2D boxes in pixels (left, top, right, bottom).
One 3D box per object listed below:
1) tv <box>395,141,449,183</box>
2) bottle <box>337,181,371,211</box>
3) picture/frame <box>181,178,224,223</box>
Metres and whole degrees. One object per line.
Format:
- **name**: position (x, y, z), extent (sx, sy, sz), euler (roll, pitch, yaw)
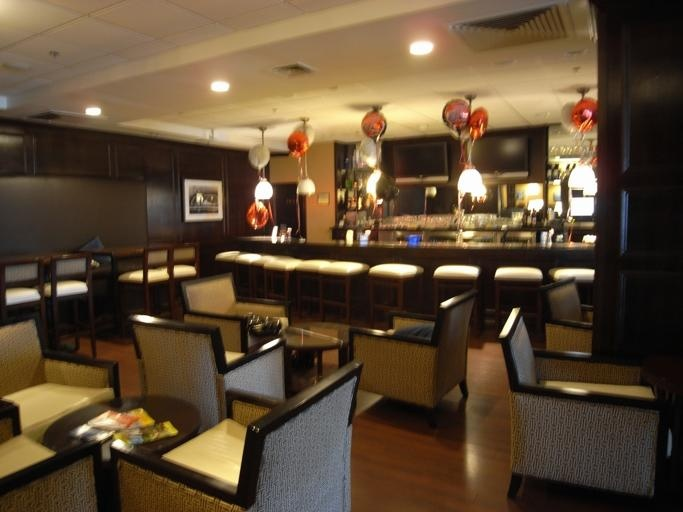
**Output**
- **tv**: position (1.522, -1.733, 9.829), extent (0.674, 0.538, 0.140), euler (7, 17, 29)
- **bottle**: position (0.236, -1.169, 10.374), extent (0.437, 0.504, 0.349), euler (17, 38, 11)
- **picture/frame**: position (-2.455, -0.966, 9.470), extent (0.062, 0.730, 0.957), euler (2, 8, 29)
